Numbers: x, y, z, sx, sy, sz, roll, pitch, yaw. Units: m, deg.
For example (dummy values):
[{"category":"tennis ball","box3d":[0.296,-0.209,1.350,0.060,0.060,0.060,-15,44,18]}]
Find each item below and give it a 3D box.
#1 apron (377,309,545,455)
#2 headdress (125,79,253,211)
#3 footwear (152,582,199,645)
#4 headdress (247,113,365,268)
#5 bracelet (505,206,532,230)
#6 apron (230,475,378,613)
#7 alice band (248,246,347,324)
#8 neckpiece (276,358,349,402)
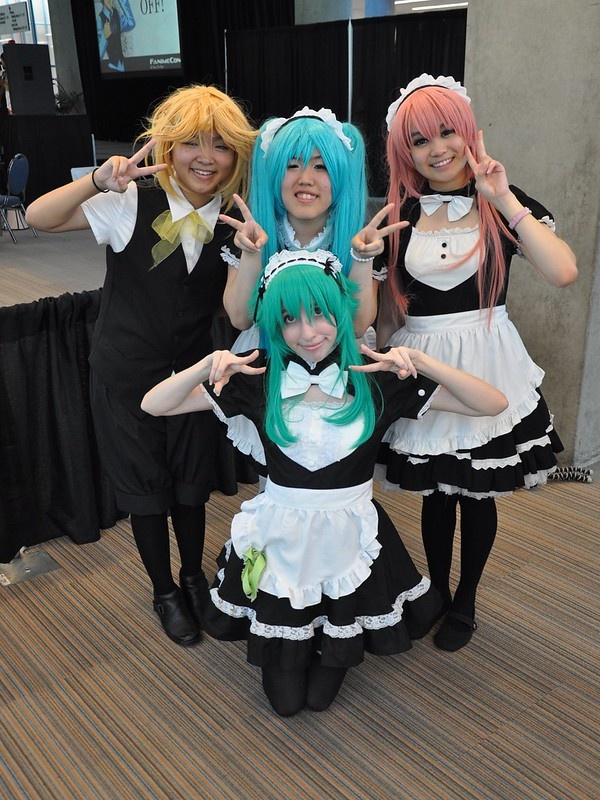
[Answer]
[{"category":"apron","box3d":[0.315,-0.049,1.207,0.390,0.266,0.275,-13,18,-11]},{"category":"headdress","box3d":[-0.193,-0.485,1.207,0.302,0.295,0.231,-1,21,-6]},{"category":"footwear","box3d":[-0.321,0.528,1.460,0.067,0.070,0.187,-15,26,-27]},{"category":"headdress","box3d":[0.014,-0.390,1.113,0.207,0.284,0.154,3,2,0]},{"category":"bracelet","box3d":[0.385,-0.319,1.019,0.037,0.039,0.037,31,5,-22]},{"category":"apron","box3d":[0.013,0.274,1.098,0.253,0.147,0.226,-12,33,-30]},{"category":"alice band","box3d":[-0.006,-0.215,1.034,0.160,0.111,0.106,-2,12,0]},{"category":"neckpiece","box3d":[0.023,-0.036,1.047,0.170,0.058,0.091,1,48,4]}]
